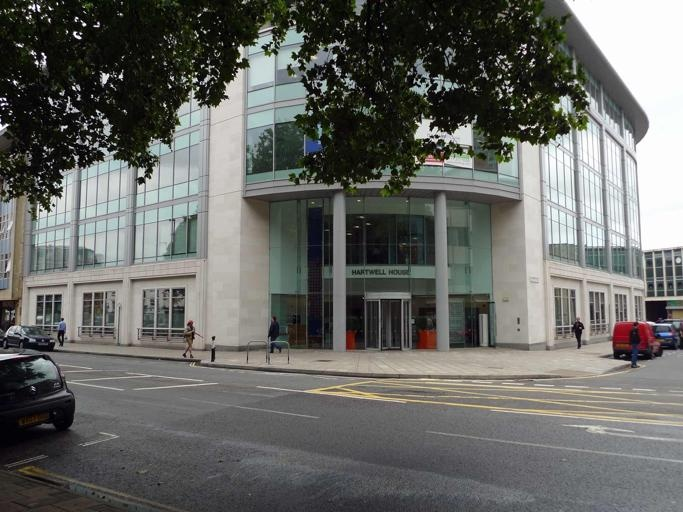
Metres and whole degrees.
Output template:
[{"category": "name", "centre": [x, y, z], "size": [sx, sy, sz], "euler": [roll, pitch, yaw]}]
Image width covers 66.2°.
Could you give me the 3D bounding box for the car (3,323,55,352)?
[{"category": "car", "centre": [-19.600, 5.111, 32.901], "size": [3.677, 1.621, 1.458], "euler": [-9, -12, 34]}]
